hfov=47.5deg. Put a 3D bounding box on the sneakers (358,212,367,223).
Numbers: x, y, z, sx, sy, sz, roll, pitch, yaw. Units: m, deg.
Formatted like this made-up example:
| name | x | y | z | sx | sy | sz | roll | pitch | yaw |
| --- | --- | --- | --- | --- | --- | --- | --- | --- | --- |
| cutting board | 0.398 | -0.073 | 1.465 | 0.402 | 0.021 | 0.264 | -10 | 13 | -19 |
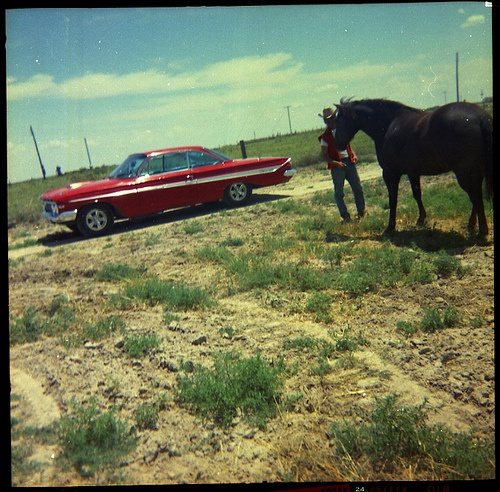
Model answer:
| name | x | y | z | sx | sy | sz | roll | pitch | yaw |
| --- | --- | --- | --- | --- | --- | --- | --- | --- | --- |
| sneakers | 1.745 | -0.449 | 8.716 | 0.092 | 0.179 | 0.056 | -1 | -17 | 12 |
